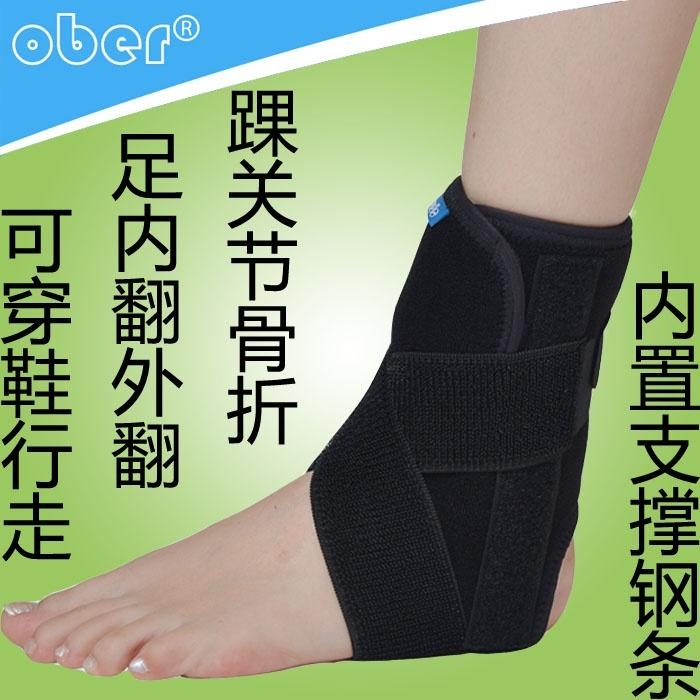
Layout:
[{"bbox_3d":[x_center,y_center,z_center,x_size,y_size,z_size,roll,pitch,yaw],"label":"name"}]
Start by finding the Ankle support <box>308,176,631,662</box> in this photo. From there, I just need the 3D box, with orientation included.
[{"bbox_3d":[0.150,0.117,1.126,0.394,0.709,0.189,5,4,-2],"label":"Ankle support"}]
